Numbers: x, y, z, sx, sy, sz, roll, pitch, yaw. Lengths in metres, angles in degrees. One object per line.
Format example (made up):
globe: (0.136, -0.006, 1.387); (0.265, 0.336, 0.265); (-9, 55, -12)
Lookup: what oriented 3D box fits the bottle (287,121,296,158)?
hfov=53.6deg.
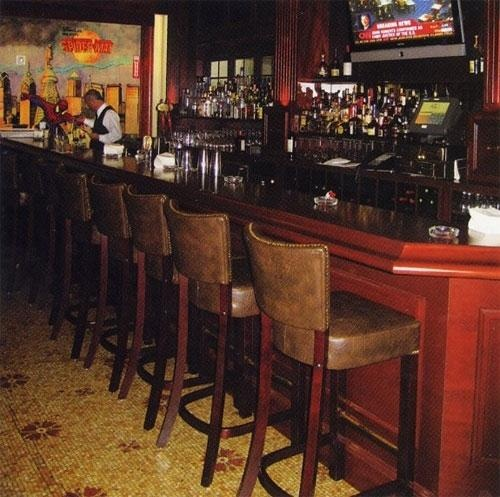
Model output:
bottle: (0.484, -1.264, 5.735); (0.105, 0.402, 0.190); (1, 8, 3)

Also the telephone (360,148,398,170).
telephone: (1.212, -0.852, 4.574); (0.208, 0.154, 0.215); (-6, 15, -23)

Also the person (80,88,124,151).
person: (-2.042, -1.776, 6.806); (0.514, 0.816, 0.898); (-2, 9, -19)
